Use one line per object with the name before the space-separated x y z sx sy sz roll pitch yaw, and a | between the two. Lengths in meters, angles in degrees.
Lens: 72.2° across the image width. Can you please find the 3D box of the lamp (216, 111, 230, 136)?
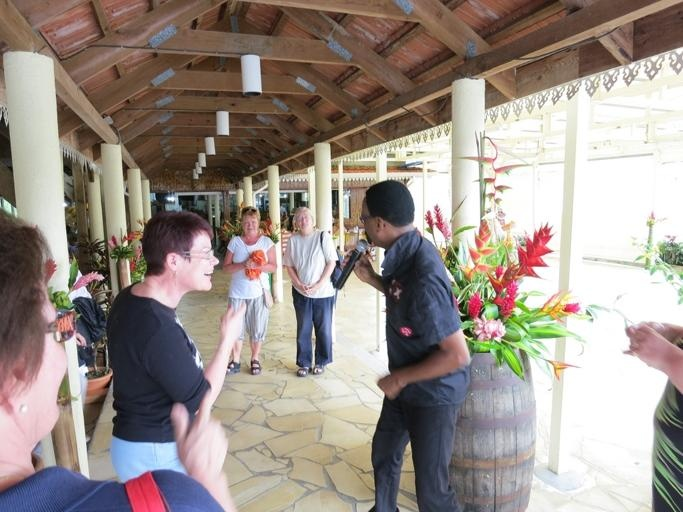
lamp | -1.673 -1.877 6.608 0.154 0.320 0.304 -2 6 -18

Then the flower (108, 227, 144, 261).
flower | -3.145 -0.171 6.774 0.501 0.463 0.522 2 3 23

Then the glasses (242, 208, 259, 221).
glasses | -1.028 -0.475 5.251 0.136 0.101 0.136 0 12 -8

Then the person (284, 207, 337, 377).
person | -0.337 0.411 5.384 0.597 1.942 0.471 -1 5 -3

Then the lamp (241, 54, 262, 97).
lamp | -0.953 -1.920 4.941 0.194 0.448 0.383 -2 5 -12

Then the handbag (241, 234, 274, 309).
handbag | -0.979 0.203 5.211 0.413 1.105 0.367 2 14 1

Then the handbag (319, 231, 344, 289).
handbag | -0.102 0.021 5.248 0.408 0.567 0.213 0 0 -8
